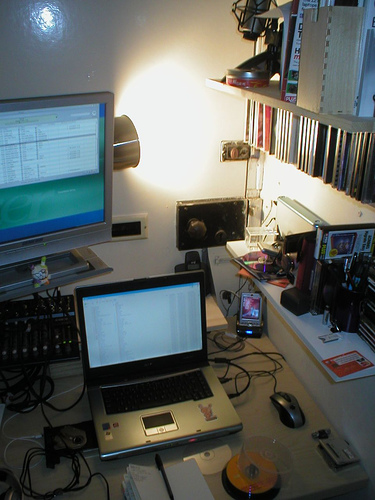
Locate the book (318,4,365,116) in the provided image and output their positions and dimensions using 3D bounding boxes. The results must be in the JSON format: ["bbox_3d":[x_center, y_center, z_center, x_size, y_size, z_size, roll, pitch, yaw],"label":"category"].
[{"bbox_3d":[0.270,-0.328,0.660,0.069,0.169,0.025,-4,16,-4],"label":"book"}]

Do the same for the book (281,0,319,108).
[{"bbox_3d":[0.247,-0.422,0.819,0.065,0.202,0.063,-7,16,-13],"label":"book"}]

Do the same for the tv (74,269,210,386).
[{"bbox_3d":[-0.131,0.239,1.128,0.333,0.267,0.028,-7,9,-17],"label":"tv"}]

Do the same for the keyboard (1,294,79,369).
[{"bbox_3d":[-0.468,0.254,1.197,0.225,0.166,0.166,-9,17,-17],"label":"keyboard"}]

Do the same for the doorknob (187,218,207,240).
[{"bbox_3d":[0.037,-0.092,1.632,0.074,0.079,0.071,-15,31,-23],"label":"doorknob"}]

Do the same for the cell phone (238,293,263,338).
[{"bbox_3d":[0.257,0.249,1.526,0.111,0.198,0.101,3,20,9],"label":"cell phone"}]

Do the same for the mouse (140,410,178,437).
[{"bbox_3d":[-0.075,0.459,1.009,0.092,0.015,0.069,-7,17,-12],"label":"mouse"}]

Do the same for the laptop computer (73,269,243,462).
[{"bbox_3d":[-0.081,0.282,1.036,0.448,0.326,0.391,-12,21,-34],"label":"laptop computer"}]

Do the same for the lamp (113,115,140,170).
[{"bbox_3d":[-0.215,-0.371,1.301,0.099,0.179,0.071,-10,17,-22],"label":"lamp"}]

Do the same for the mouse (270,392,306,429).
[{"bbox_3d":[0.298,0.456,1.126,0.081,0.045,0.134,-8,19,-11],"label":"mouse"}]

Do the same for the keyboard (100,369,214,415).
[{"bbox_3d":[-0.086,0.414,1.100,0.316,0.041,0.093,-7,17,-12],"label":"keyboard"}]

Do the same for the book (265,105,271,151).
[{"bbox_3d":[0.283,-0.437,1.325,0.017,0.156,0.116,3,17,17],"label":"book"}]

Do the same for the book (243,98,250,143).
[{"bbox_3d":[0.238,-0.522,1.526,0.014,0.167,0.054,-8,16,-16],"label":"book"}]
